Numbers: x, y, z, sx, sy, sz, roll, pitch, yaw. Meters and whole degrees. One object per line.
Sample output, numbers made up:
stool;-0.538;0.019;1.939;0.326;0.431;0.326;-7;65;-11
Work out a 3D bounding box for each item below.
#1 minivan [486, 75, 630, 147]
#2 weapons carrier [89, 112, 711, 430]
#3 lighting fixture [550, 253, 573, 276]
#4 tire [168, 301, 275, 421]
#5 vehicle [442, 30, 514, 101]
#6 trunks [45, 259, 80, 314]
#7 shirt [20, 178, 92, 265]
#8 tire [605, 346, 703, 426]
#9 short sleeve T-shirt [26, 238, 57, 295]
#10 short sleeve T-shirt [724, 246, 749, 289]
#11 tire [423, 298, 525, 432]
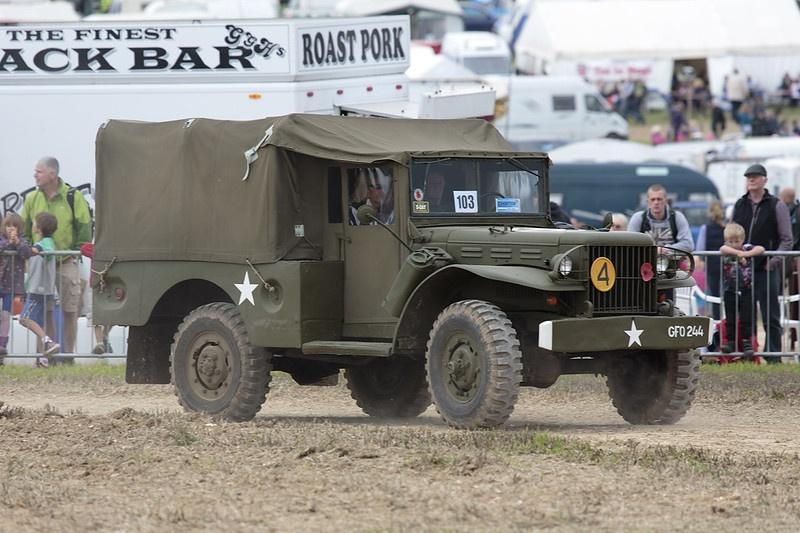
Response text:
minivan;4.667;-4.450;52.813;3.816;1.974;2.124;-4;13;-8
weapons carrier;0.078;-0.001;26.563;7.629;3.991;4.401;-1;1;34
lighting fixture;2.192;0.021;24.922;0.286;0.296;0.163;0;13;-6
tire;-2.516;1.392;26.270;1.396;1.331;0.448;23;5;17
vehicle;2.407;-6.259;55.380;1.773;1.877;3.467;-3;3;-11
trunks;-5.629;0.402;30.754;0.434;1.220;0.693;10;-16;-36
shirt;-5.783;-0.678;31.164;1.463;1.460;0.838;-3;-2;1
tire;3.536;1.715;25.936;0.369;1.106;1.151;5;-6;-43
short sleeve T-shirt;-5.945;0.083;30.708;0.515;0.886;0.817;6;-8;-22
short sleeve T-shirt;5.452;0.168;30.014;0.498;0.583;0.276;5;14;18
tire;1.013;1.341;25.116;0.637;1.719;1.779;-3;-1;-45
